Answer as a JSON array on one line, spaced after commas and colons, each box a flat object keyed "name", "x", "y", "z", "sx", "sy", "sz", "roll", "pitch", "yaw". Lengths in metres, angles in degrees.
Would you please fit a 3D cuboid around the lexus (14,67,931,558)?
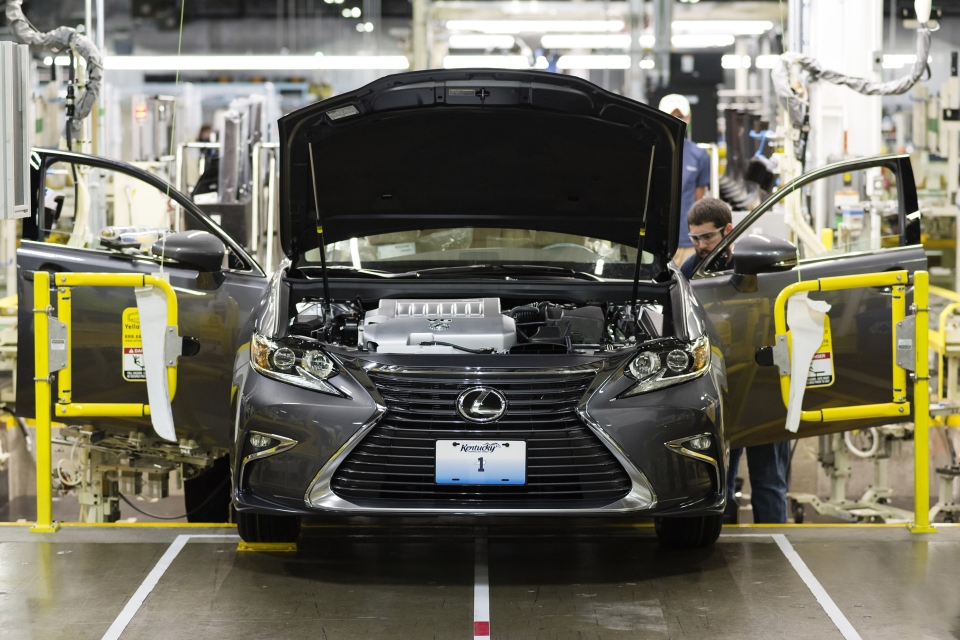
[{"name": "lexus", "x": -0.042, "y": -0.139, "z": 7.141, "sx": 5.362, "sy": 2.412, "sz": 1.910, "roll": 1, "pitch": 24, "yaw": 4}]
